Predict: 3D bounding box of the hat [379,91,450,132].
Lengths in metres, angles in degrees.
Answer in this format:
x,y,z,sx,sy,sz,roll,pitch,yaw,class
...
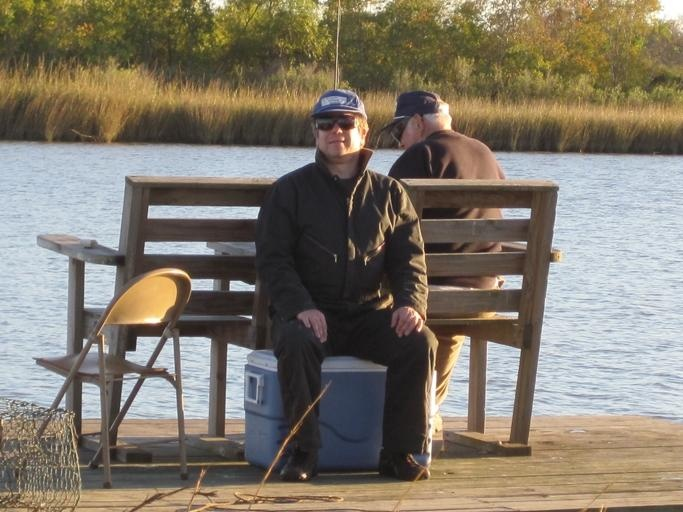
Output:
x,y,z,sx,sy,sz,roll,pitch,yaw,class
0.844,-1.793,21.776,0.818,0.364,0.530,-9,-8,-5,hat

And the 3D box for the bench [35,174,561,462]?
x,y,z,sx,sy,sz,roll,pitch,yaw,class
-0.379,0.685,21.094,5.804,2.936,2.311,0,-6,-23,bench

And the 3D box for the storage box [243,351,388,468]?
x,y,z,sx,sy,sz,roll,pitch,yaw,class
-0.109,1.836,20.848,1.959,1.504,1.032,1,-1,-24,storage box

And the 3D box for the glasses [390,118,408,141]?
x,y,z,sx,sy,sz,roll,pitch,yaw,class
0.683,-1.561,21.651,0.271,0.168,0.204,-3,8,-20,glasses
